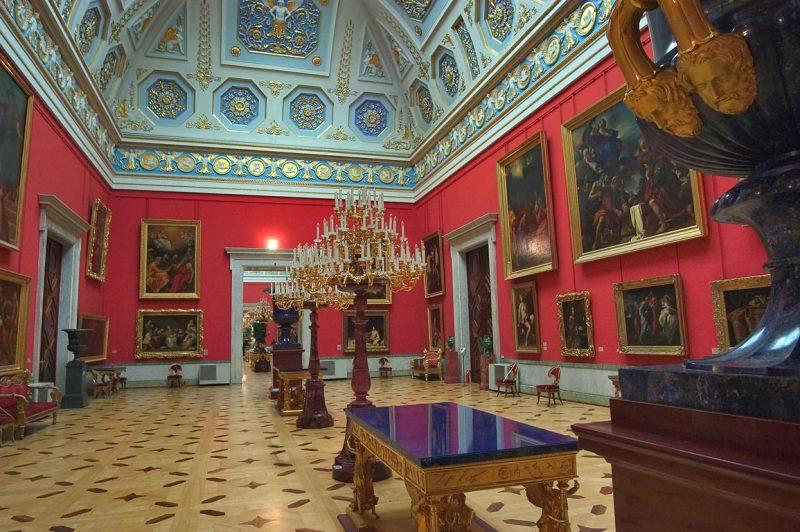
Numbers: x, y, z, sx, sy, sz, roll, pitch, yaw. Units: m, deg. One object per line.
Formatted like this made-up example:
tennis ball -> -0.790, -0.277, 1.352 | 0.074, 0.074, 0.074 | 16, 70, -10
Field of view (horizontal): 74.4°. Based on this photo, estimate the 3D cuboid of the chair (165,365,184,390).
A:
chair -> -7.072, 3.414, 16.563 | 0.586, 0.887, 0.645 | 4, -8, -31

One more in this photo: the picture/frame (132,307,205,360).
picture/frame -> -7.476, 2.145, 16.754 | 1.597, 1.417, 0.162 | 1, -7, -18

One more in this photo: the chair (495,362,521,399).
chair -> 2.566, 2.681, 12.612 | 0.657, 0.962, 0.671 | 2, -7, -13
